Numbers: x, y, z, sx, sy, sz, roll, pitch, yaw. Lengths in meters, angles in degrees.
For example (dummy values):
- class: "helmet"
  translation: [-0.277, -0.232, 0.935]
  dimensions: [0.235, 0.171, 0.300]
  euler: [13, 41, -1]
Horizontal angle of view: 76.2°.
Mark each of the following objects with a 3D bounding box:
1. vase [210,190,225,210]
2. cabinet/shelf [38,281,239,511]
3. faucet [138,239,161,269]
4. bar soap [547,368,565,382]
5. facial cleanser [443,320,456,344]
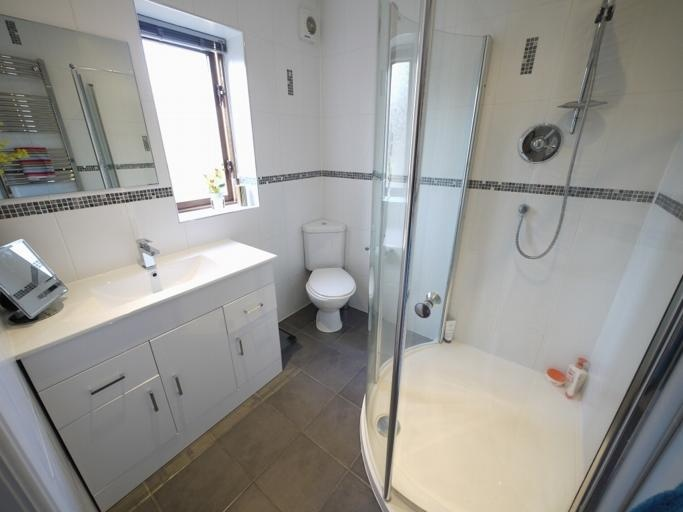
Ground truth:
- class: "vase"
  translation: [-0.902, -0.401, 3.132]
  dimensions: [0.105, 0.114, 0.196]
  euler: [2, 23, -8]
- class: "cabinet/shelf"
  translation: [-1.092, 0.734, 2.288]
  dimensions: [0.356, 0.840, 0.867]
  euler: [19, 33, 31]
- class: "faucet"
  translation: [-1.163, -0.016, 2.624]
  dimensions: [0.146, 0.172, 0.073]
  euler: [26, 34, 28]
- class: "bar soap"
  translation: [1.407, 0.769, 2.845]
  dimensions: [0.109, 0.044, 0.083]
  euler: [9, 23, 28]
- class: "facial cleanser"
  translation: [0.792, 0.538, 3.180]
  dimensions: [0.047, 0.161, 0.102]
  euler: [17, 28, 41]
